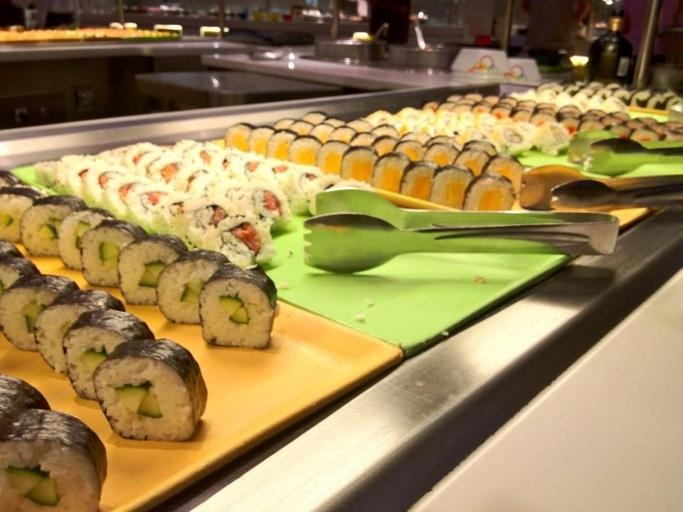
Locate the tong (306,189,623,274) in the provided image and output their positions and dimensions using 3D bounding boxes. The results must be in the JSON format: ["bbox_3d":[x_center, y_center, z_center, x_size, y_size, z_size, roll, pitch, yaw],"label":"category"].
[{"bbox_3d":[0.184,-0.038,0.880,0.478,0.119,0.128,3,23,1],"label":"tong"}]

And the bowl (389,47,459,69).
[{"bbox_3d":[0.474,-1.150,3.069,0.390,0.126,0.232,4,21,4],"label":"bowl"}]
